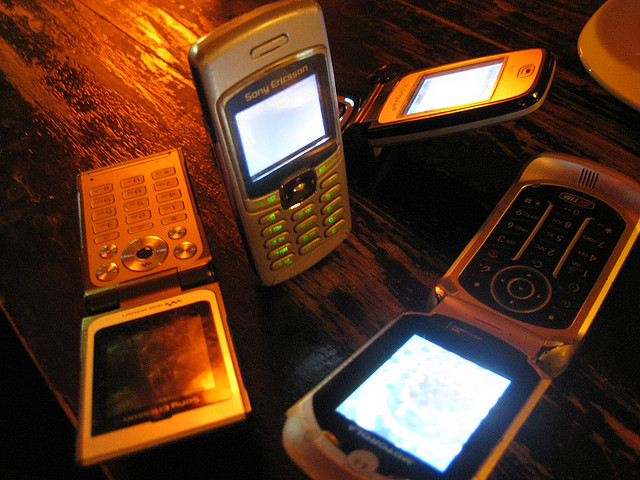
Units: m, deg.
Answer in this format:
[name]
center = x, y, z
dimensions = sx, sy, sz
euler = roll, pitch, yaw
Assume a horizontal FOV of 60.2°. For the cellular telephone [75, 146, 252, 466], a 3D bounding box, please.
[cellular telephone]
center = -0.159, 0.045, 0.534
dimensions = 0.131, 0.040, 0.313
euler = -10, 55, -11
